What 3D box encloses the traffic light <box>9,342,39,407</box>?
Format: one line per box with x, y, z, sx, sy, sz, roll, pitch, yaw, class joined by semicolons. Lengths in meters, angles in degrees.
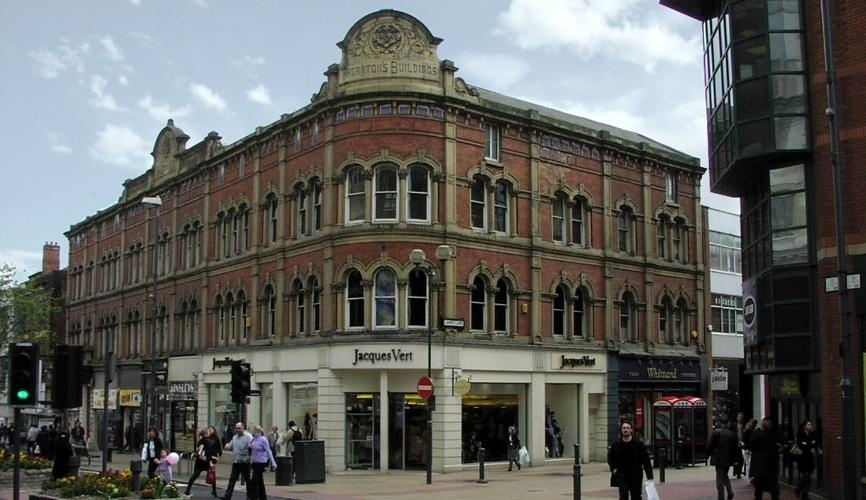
-15.822;4.745;41.013;1.093;2.499;0.854;4;-19;-17;traffic light

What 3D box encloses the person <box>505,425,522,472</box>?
4.265;10.434;56.630;0.736;2.556;1.476;-3;-18;4;person

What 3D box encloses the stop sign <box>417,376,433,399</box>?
-0.429;6.635;52.216;0.604;1.148;1.286;-1;-19;-4;stop sign
